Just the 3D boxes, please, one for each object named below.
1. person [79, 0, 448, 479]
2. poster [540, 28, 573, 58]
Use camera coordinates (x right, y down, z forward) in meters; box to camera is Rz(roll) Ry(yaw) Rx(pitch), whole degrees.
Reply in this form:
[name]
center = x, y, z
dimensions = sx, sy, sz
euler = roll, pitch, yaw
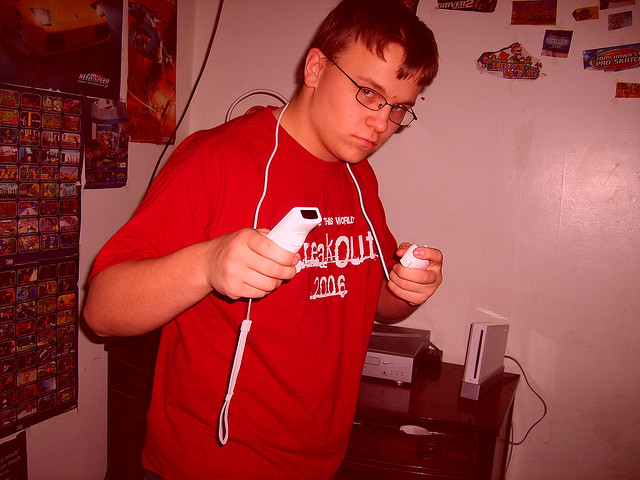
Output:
[person]
center = -0.139, 0.004, 1.234
dimensions = 0.581, 1.338, 0.687
euler = 13, 13, 26
[poster]
center = 0.978, -0.813, 1.900
dimensions = 0.091, 0.100, 0.010
euler = 22, 16, 14
